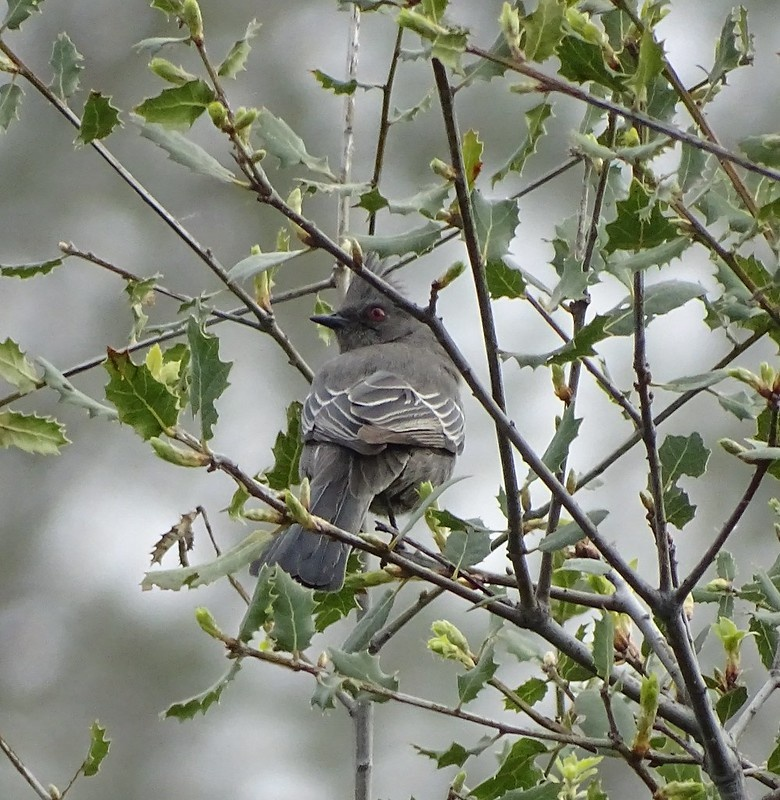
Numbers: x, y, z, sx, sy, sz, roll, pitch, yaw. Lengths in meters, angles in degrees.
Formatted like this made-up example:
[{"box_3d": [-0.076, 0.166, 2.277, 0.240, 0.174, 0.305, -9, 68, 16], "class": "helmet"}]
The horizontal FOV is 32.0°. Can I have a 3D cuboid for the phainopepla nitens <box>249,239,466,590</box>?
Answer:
[{"box_3d": [0.008, 0.054, 4.982, 0.407, 1.353, 0.841, 1, -72, 17], "class": "phainopepla nitens"}]
